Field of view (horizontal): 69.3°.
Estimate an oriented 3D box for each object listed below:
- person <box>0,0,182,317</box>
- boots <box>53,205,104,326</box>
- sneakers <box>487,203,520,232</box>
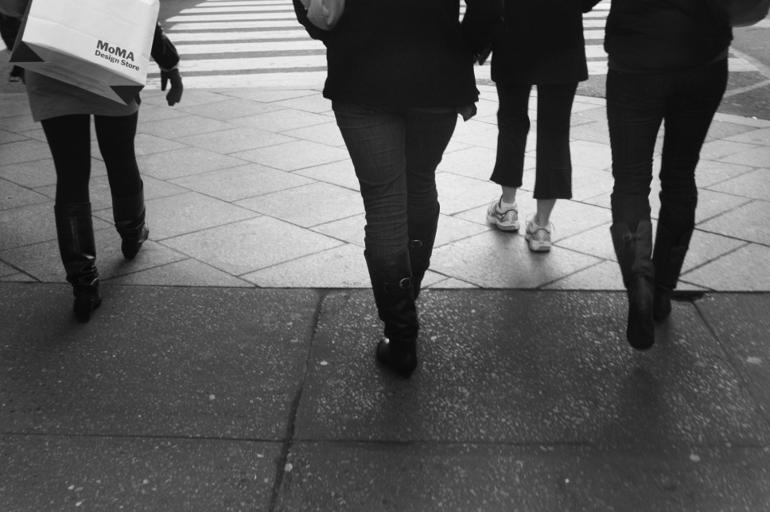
[{"bbox_3d":[-1.831,-0.641,3.497,0.784,1.777,1.191,7,28,15],"label":"person"},{"bbox_3d":[-1.860,0.034,3.409,0.221,0.626,0.478,-12,29,-20],"label":"boots"},{"bbox_3d":[0.956,-0.303,4.490,0.151,0.162,0.344,-4,19,-10],"label":"sneakers"}]
